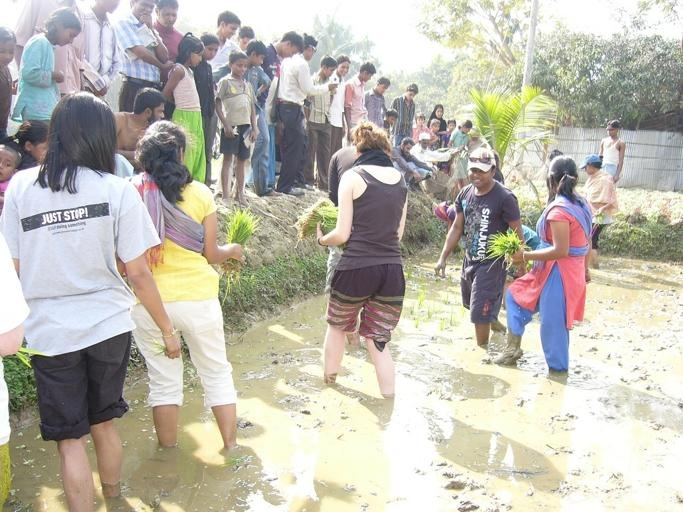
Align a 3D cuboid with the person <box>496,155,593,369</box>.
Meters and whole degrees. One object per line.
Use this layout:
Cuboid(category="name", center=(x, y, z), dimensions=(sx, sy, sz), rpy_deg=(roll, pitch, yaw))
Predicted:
Cuboid(category="person", center=(2.160, 0.137, 6.096), dimensions=(0.852, 2.228, 0.821), rpy_deg=(3, 10, 20))
